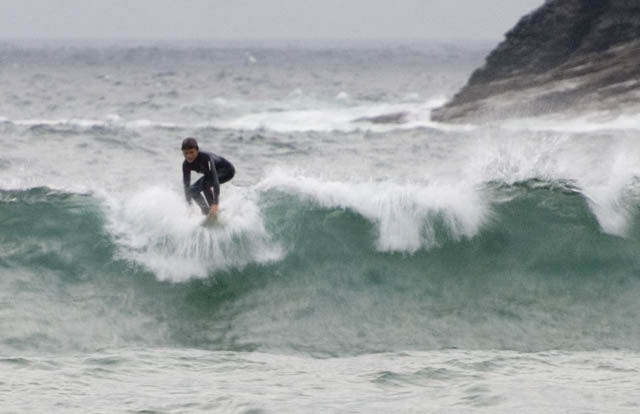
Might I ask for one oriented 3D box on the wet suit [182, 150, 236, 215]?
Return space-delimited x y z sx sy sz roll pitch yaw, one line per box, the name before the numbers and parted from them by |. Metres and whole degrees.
wet suit | -2.732 -0.661 21.383 0.760 1.738 1.257 23 33 36
